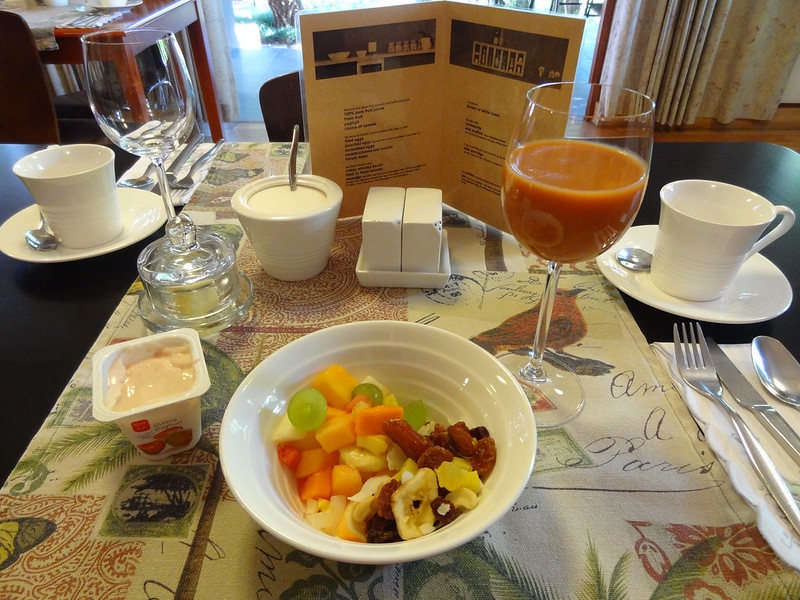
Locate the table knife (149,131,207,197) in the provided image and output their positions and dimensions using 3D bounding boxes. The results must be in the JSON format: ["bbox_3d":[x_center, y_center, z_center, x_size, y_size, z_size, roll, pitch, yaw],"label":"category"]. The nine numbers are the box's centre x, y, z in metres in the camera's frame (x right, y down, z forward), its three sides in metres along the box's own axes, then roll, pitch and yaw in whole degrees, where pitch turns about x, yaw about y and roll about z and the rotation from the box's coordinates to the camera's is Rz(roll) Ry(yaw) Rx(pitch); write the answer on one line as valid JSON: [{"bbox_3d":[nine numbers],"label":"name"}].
[{"bbox_3d":[-0.537,-0.320,1.344,0.058,0.048,0.337,9,44,-6],"label":"table knife"}]

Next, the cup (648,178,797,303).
[{"bbox_3d":[0.602,-0.102,1.164,0.285,0.218,0.221,1,44,15],"label":"cup"}]

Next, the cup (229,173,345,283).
[{"bbox_3d":[-0.237,-0.165,1.170,0.220,0.162,0.222,1,40,-1],"label":"cup"}]

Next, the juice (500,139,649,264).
[{"bbox_3d":[0.266,-0.166,0.866,0.177,0.138,0.188,-1,41,2],"label":"juice"}]

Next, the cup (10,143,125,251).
[{"bbox_3d":[-0.661,-0.214,1.183,0.197,0.189,0.247,-11,45,-16],"label":"cup"}]

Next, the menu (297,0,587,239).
[{"bbox_3d":[0.103,-0.369,1.439,0.691,0.600,0.434,-2,37,-2],"label":"menu"}]
